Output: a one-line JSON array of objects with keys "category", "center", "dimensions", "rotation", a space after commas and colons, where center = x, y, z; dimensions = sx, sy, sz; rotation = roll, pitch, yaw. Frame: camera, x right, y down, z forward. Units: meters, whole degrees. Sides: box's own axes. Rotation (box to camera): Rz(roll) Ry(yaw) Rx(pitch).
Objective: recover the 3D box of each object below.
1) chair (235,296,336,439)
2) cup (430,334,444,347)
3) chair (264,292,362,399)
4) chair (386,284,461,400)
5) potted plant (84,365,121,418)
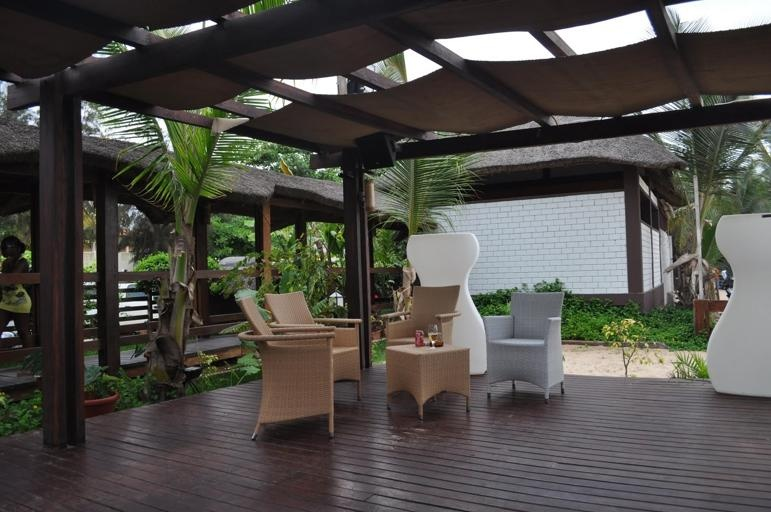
[{"category": "chair", "center": [-0.988, 1.153, 5.383], "dimensions": [1.022, 1.251, 1.078], "rotation": [1, -12, -17]}, {"category": "cup", "center": [0.570, 0.915, 5.671], "dimensions": [0.143, 0.129, 0.138], "rotation": [-1, -5, 0]}, {"category": "chair", "center": [-0.746, 1.060, 5.882], "dimensions": [1.055, 1.101, 1.020], "rotation": [0, 3, -28]}, {"category": "chair", "center": [0.450, 0.926, 6.203], "dimensions": [0.841, 1.072, 0.937], "rotation": [-2, -5, 7]}, {"category": "potted plant", "center": [-3.254, 1.542, 5.920], "dimensions": [0.537, 0.492, 0.513], "rotation": [0, 0, -14]}]
